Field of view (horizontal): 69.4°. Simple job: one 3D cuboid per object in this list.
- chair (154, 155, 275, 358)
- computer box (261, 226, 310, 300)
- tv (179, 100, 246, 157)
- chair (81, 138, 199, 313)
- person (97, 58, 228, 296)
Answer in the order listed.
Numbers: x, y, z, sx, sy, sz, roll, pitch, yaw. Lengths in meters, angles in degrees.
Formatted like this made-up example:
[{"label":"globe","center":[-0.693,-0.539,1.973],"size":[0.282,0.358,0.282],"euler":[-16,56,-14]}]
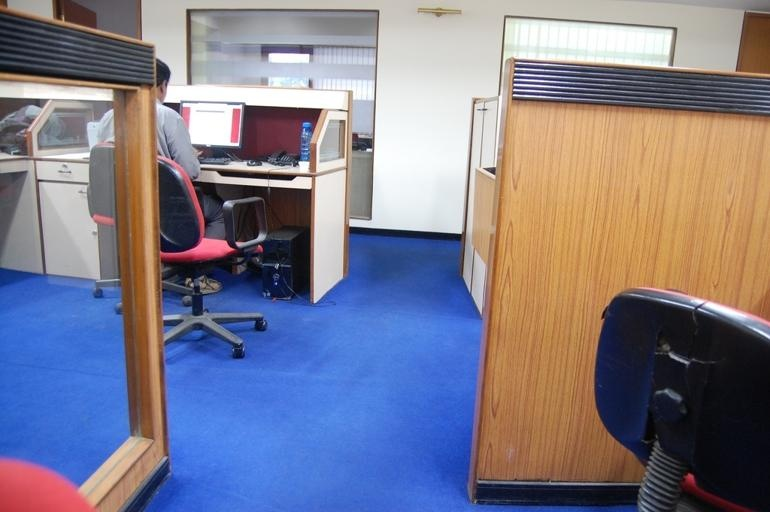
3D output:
[{"label":"chair","center":[-1.121,-0.006,3.306],"size":[0.825,1.053,0.770],"euler":[-1,7,4]},{"label":"computer box","center":[-0.737,0.054,4.121],"size":[0.245,0.419,0.431],"euler":[5,12,14]},{"label":"tv","center":[-1.315,-0.977,4.194],"size":[0.548,0.397,0.056],"euler":[4,6,5]},{"label":"chair","center":[-0.970,-0.104,2.169],"size":[0.371,0.548,0.341],"euler":[6,-1,33]},{"label":"person","center":[-1.421,-0.691,3.989],"size":[0.603,1.324,0.790],"euler":[17,27,30]}]
